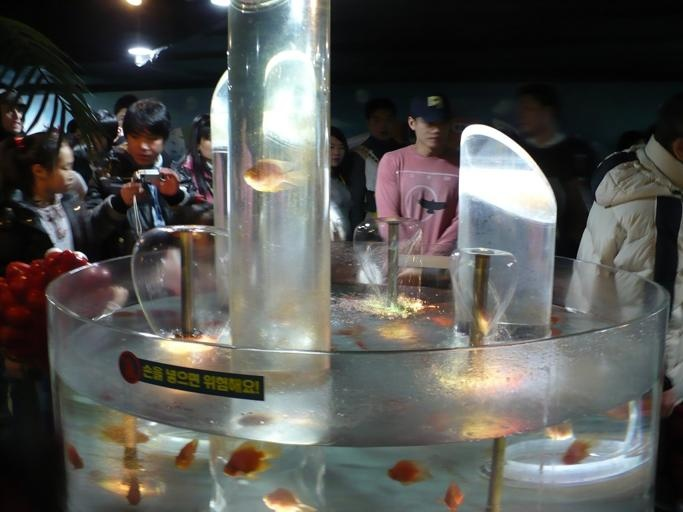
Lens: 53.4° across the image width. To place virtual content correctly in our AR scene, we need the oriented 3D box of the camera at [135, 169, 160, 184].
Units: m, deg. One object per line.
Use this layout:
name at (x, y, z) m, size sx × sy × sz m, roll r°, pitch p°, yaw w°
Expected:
camera at (-0.767, -0.321, 2.702) m, size 0.102 × 0.065 × 0.090 m, roll -3°, pitch 14°, yaw -30°

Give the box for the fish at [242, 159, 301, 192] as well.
fish at (-0.100, -0.119, 1.021) m, size 0.104 × 0.052 × 0.029 m, roll -1°, pitch 5°, yaw -28°

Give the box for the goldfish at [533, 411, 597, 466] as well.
goldfish at (0.311, 0.247, 0.948) m, size 0.050 × 0.064 × 0.067 m, roll -1°, pitch 1°, yaw 44°
